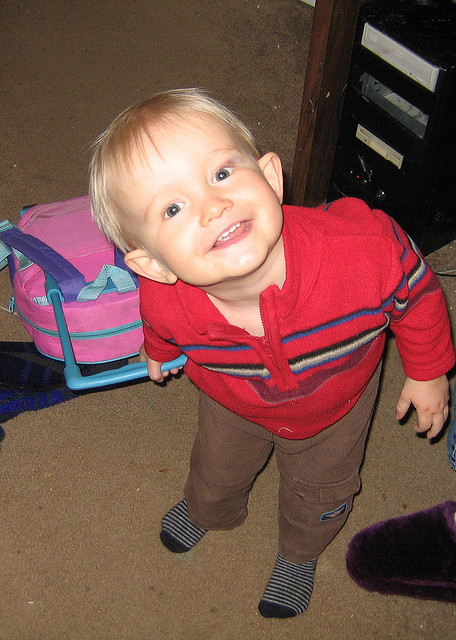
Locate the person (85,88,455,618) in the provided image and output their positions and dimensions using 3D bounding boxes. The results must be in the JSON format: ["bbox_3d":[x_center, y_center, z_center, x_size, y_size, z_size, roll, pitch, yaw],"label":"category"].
[{"bbox_3d":[0.087,0.155,1.027,0.586,1.036,0.307,-6,41,-16],"label":"person"}]
